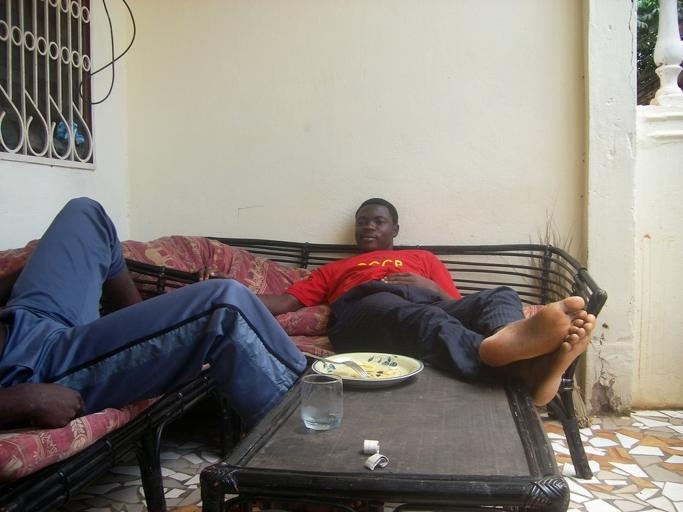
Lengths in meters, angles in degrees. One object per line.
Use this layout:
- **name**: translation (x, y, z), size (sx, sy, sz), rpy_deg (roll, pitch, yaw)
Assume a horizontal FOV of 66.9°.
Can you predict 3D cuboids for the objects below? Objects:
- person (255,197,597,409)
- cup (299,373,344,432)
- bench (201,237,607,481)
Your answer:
- **person**: translation (0.372, 0.136, 2.416), size (0.833, 0.599, 1.282), rpy_deg (2, -5, -16)
- **cup**: translation (-0.059, 0.466, 1.675), size (0.147, 0.156, 0.151), rpy_deg (-1, 2, 0)
- **bench**: translation (0.471, 0.351, 2.955), size (1.769, 0.667, 0.613), rpy_deg (1, 23, 5)
